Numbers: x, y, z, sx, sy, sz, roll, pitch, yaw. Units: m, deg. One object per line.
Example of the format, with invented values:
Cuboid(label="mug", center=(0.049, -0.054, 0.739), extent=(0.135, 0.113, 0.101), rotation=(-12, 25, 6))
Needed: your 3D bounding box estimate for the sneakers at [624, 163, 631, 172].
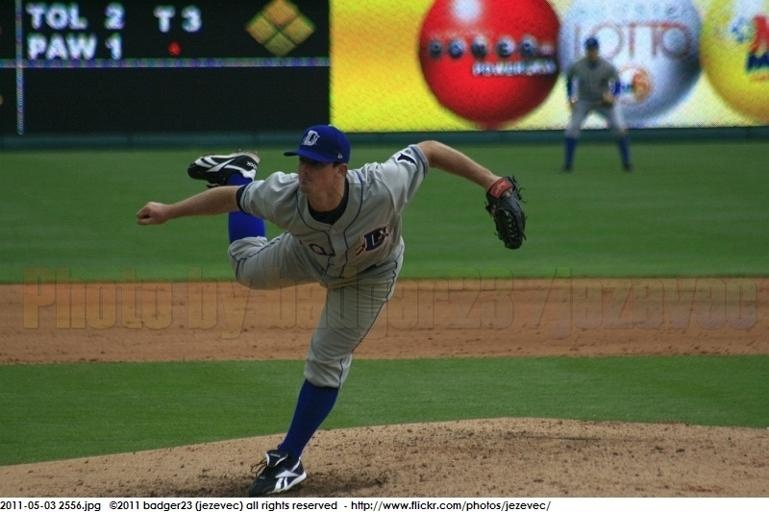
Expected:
Cuboid(label="sneakers", center=(4.068, -1.487, 21.752), extent=(0.128, 0.146, 0.054), rotation=(-16, 14, 13))

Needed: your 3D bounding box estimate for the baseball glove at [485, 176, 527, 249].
Cuboid(label="baseball glove", center=(1.419, -0.487, 14.373), extent=(0.393, 0.742, 0.489), rotation=(-9, -9, -35))
